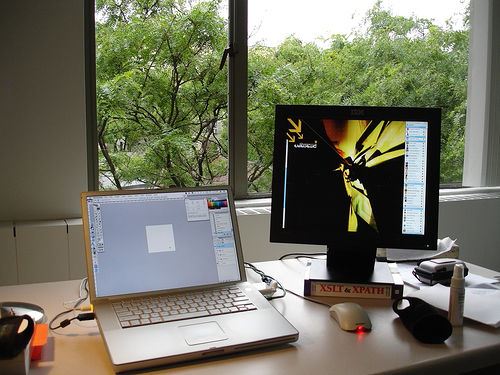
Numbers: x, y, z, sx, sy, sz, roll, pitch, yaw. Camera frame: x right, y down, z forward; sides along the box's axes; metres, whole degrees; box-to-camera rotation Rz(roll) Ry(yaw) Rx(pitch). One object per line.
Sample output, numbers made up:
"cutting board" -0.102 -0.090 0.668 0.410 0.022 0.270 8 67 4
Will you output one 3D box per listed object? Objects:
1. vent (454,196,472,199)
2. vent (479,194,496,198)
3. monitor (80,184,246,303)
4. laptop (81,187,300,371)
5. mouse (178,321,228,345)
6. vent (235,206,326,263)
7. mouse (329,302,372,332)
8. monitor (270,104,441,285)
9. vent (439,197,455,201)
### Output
"vent" 1.695 0.079 3.039 0.085 0.010 0.127 0 12 -3
"vent" 1.931 0.065 3.114 0.082 0.010 0.137 3 12 9
"monitor" -0.264 0.165 1.208 0.478 0.309 0.172 -4 14 -21
"laptop" -0.235 0.219 1.163 0.495 0.525 0.327 -4 -15 -23
"mouse" -0.126 0.393 1.026 0.121 0.012 0.078 -2 12 -14
"vent" 0.119 0.294 2.556 0.659 0.336 0.432 -2 10 -28
"mouse" 0.299 0.386 1.141 0.123 0.055 0.084 4 13 12
"monitor" 0.380 0.012 1.360 0.675 0.691 0.239 2 -3 5
"vent" 1.533 0.092 2.969 0.095 0.009 0.181 7 13 28
